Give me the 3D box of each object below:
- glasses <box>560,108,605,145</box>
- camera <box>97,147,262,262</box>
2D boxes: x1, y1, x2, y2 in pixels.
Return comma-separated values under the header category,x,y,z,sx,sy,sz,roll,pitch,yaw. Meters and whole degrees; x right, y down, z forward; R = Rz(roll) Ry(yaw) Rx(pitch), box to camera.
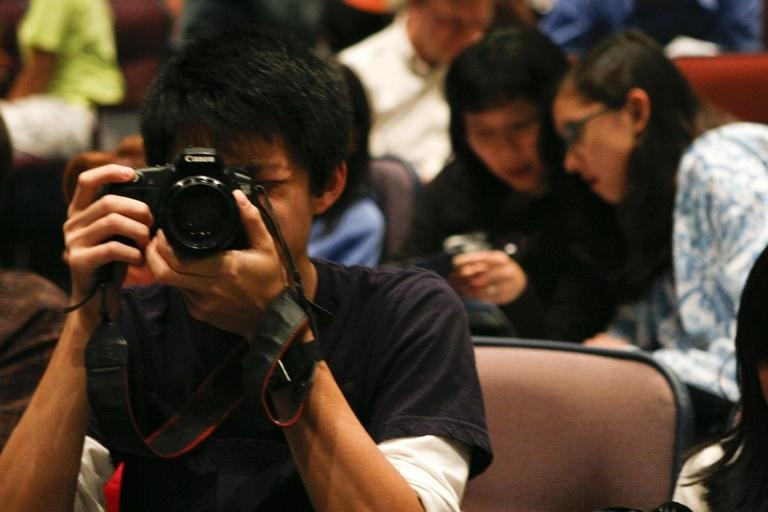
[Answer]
category,x,y,z,sx,sy,sz,roll,pitch,yaw
glasses,0.695,-0.438,2.922,0.151,0.082,0.109,-32,6,-6
camera,-0.470,-0.122,1.841,0.352,0.227,0.155,1,22,15
